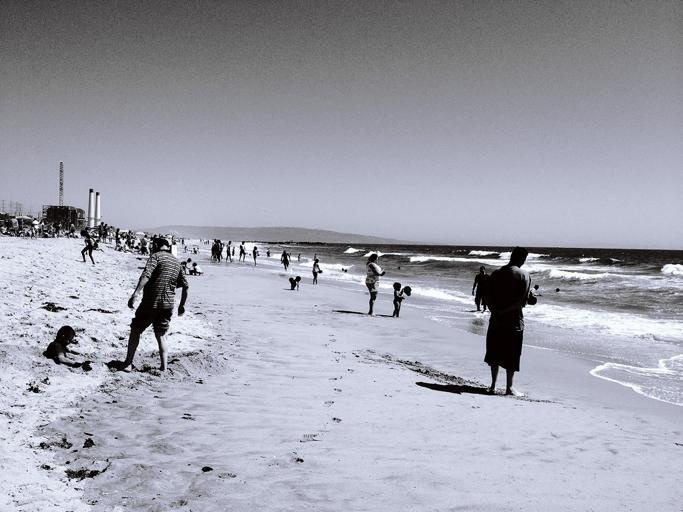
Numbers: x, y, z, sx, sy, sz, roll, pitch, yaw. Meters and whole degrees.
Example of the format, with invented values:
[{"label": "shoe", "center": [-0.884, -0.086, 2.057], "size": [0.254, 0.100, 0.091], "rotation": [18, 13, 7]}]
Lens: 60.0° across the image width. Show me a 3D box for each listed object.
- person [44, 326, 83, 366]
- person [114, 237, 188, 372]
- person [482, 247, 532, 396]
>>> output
[{"label": "person", "center": [-4.219, 1.343, 9.017], "size": [0.520, 0.533, 0.731], "rotation": [14, 3, -23]}, {"label": "person", "center": [-2.829, 0.728, 8.995], "size": [1.003, 2.092, 0.600], "rotation": [-3, 12, -43]}, {"label": "person", "center": [2.591, 1.015, 9.204], "size": [0.731, 2.366, 0.377], "rotation": [8, 9, 18]}]
